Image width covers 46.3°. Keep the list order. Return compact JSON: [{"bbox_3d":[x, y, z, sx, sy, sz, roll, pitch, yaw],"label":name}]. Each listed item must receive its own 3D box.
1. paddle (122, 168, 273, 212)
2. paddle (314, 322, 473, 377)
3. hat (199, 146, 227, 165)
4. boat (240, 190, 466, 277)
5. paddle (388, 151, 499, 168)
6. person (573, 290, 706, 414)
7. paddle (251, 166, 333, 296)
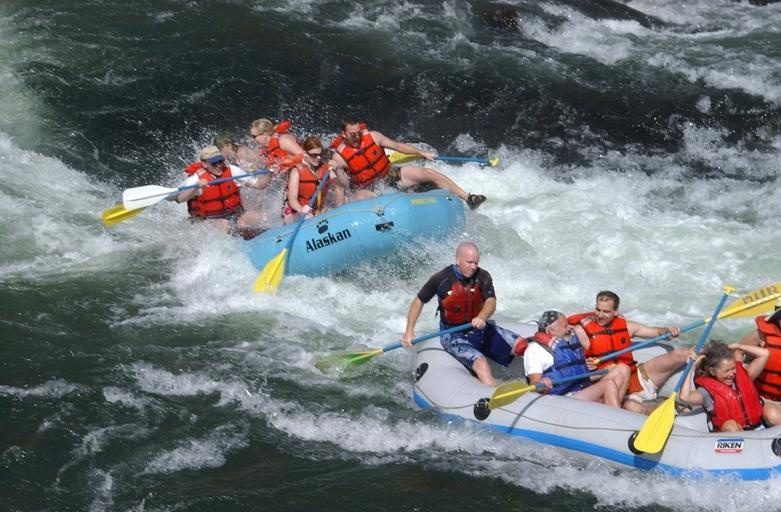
[{"bbox_3d":[-2.997,-1.021,14.406,2.574,0.285,0.260,-11,44,-15],"label":"paddle"},{"bbox_3d":[0.020,1.277,12.144,2.100,0.275,0.210,-15,2,3],"label":"paddle"},{"bbox_3d":[-2.799,-1.560,13.990,0.244,0.128,0.336,-15,26,-31],"label":"hat"},{"bbox_3d":[-0.570,-0.342,13.732,2.655,0.511,1.406,-16,12,-7],"label":"boat"},{"bbox_3d":[0.823,-1.661,15.674,1.528,0.214,0.199,7,52,-5],"label":"paddle"},{"bbox_3d":[2.920,1.118,11.894,1.141,1.142,1.771,-12,19,-26],"label":"person"},{"bbox_3d":[-1.350,-0.834,14.369,1.011,1.966,1.046,19,31,21],"label":"paddle"}]
